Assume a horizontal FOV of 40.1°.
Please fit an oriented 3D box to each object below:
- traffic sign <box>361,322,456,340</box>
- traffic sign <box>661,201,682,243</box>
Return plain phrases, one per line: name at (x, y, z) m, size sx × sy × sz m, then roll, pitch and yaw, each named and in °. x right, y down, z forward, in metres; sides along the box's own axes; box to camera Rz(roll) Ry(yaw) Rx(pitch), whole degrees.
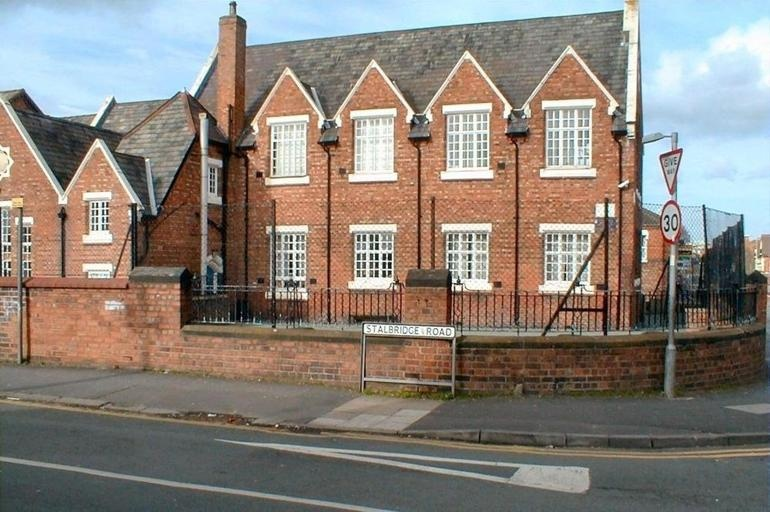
traffic sign at (0.615, 1.933, 27.256) m, size 2.435 × 0.399 × 0.257 m, roll -1°, pitch -2°, yaw 15°
traffic sign at (7.326, -0.878, 27.018) m, size 0.324 × 1.133 × 0.772 m, roll 1°, pitch -2°, yaw -26°
